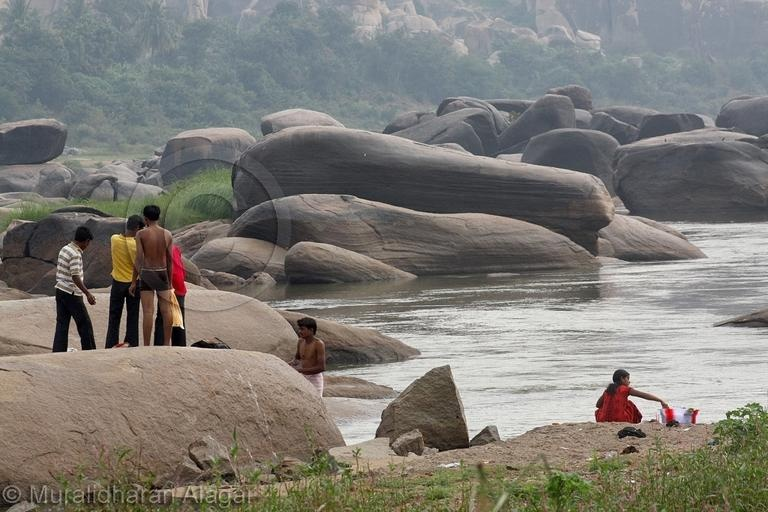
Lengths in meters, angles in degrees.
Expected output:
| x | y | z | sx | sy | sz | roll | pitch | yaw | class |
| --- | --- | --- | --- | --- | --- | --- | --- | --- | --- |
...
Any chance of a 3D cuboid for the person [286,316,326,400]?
| x | y | z | sx | sy | sz | roll | pitch | yaw | class |
| --- | --- | --- | --- | --- | --- | --- | --- | --- | --- |
| -3.548 | 4.665 | 77.304 | 1.380 | 3.574 | 0.585 | 1 | -2 | -1 | person |
